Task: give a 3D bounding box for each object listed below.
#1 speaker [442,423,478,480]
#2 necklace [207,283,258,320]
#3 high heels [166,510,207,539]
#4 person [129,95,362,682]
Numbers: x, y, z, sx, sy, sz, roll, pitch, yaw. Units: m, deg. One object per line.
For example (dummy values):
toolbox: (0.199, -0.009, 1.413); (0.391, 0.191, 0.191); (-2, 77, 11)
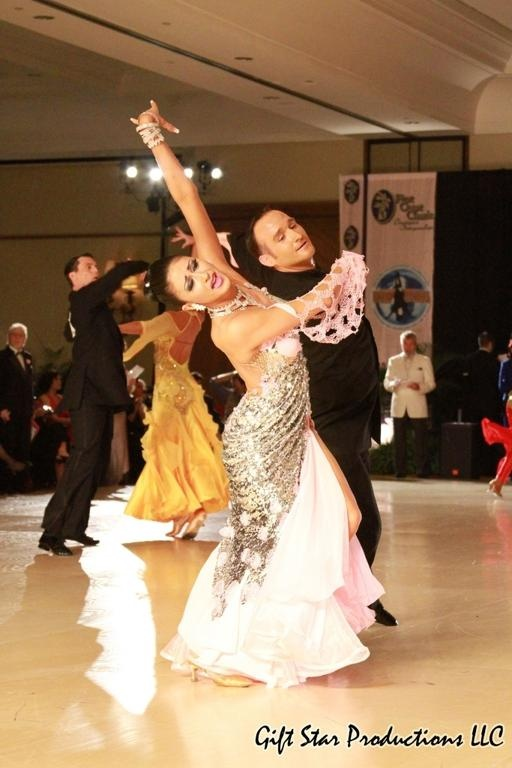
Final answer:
speaker: (3.068, 1.008, 9.896); (0.547, 0.824, 0.335); (-1, 8, 7)
necklace: (-0.073, -0.235, 1.890); (0.147, 0.088, 0.164); (-2, 7, 0)
high heels: (-0.539, 1.132, 5.126); (0.151, 0.190, 0.465); (25, -44, -29)
person: (0.005, 0.236, 1.895); (0.602, 1.203, 0.394); (-1, 8, 7)
